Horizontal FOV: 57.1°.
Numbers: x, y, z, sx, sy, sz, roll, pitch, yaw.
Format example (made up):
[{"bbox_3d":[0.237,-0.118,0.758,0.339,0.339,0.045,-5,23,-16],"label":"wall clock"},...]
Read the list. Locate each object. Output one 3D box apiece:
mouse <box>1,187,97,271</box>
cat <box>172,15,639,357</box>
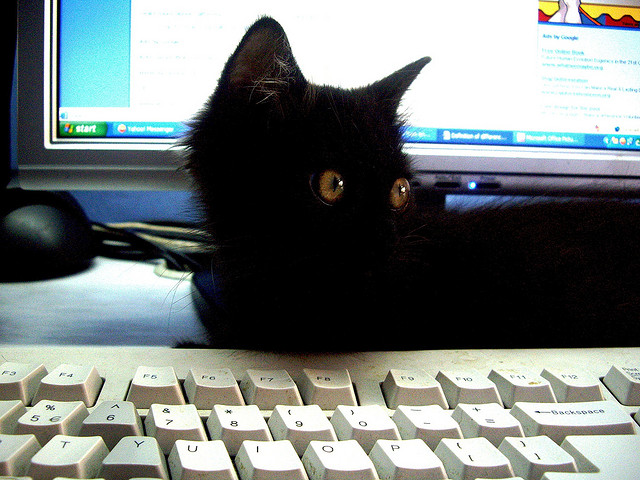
[{"bbox_3d":[-0.429,-0.022,0.932,0.120,0.096,0.148,-2,14,-18],"label":"mouse"},{"bbox_3d":[0.226,-0.012,0.921,0.821,0.543,0.328,2,-14,-8],"label":"cat"}]
